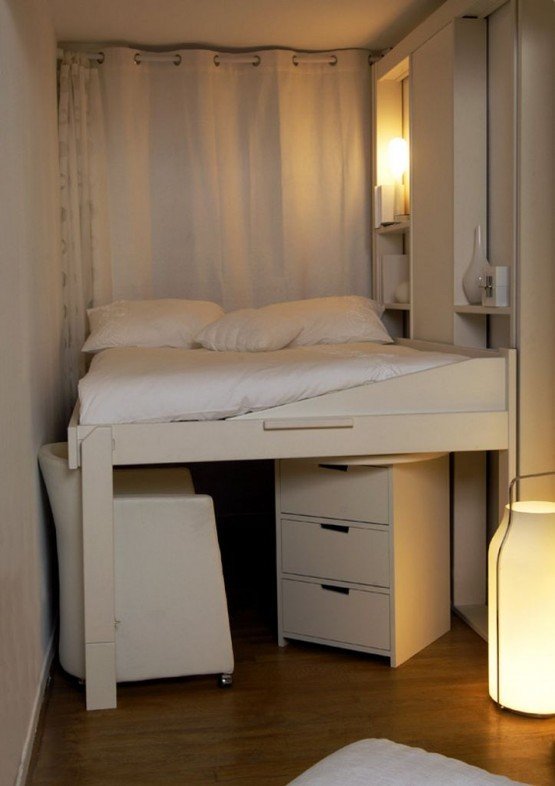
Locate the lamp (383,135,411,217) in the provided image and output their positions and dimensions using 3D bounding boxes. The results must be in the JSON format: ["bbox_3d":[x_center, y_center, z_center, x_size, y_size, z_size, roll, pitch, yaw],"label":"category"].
[{"bbox_3d":[0.496,-0.884,3.007,0.085,0.366,0.267,-1,3,1],"label":"lamp"}]

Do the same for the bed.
[{"bbox_3d":[0.044,0.426,2.001,0.847,0.859,0.926,1,0,-7],"label":"bed"}]

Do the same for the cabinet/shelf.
[{"bbox_3d":[0.488,-0.538,3.000,0.122,0.540,0.436,0,-1,-1],"label":"cabinet/shelf"}]

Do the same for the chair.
[{"bbox_3d":[-0.398,0.445,2.160,0.482,0.806,0.511,-1,3,-9],"label":"chair"}]

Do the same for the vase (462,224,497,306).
[{"bbox_3d":[0.601,-0.387,2.200,0.076,0.244,0.270,0,3,12],"label":"vase"}]
